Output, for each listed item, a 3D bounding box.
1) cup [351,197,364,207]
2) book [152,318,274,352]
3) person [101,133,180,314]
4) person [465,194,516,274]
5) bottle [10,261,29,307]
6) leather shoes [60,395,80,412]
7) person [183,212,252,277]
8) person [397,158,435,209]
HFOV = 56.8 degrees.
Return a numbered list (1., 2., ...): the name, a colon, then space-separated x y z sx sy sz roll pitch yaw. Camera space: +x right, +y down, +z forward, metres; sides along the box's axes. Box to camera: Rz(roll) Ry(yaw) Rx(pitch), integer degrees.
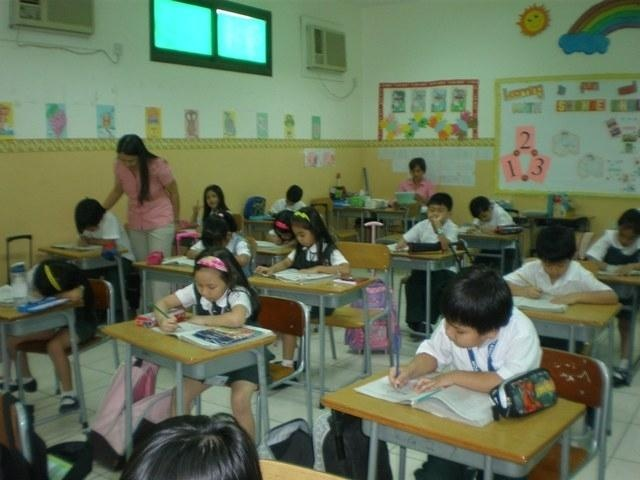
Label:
1. cup: 0.486 -0.503 7.846 0.130 0.088 0.134 1 6 0
2. book: -0.483 0.450 2.846 0.494 0.055 0.324 -2 10 5
3. person: -1.530 -0.117 4.940 0.694 1.540 0.484 -7 17 -18
4. person: 1.704 -0.040 6.055 0.410 0.790 0.458 -7 5 39
5. bottle: -1.736 0.239 3.440 0.087 0.209 0.181 -8 11 -30
6. leather shoes: -1.542 1.001 3.664 0.073 0.065 0.134 -2 7 -18
7. person: -0.780 0.126 4.476 0.463 0.730 0.424 1 29 -9
8. person: 1.313 -0.696 8.072 0.462 0.812 0.418 1 -4 -3
